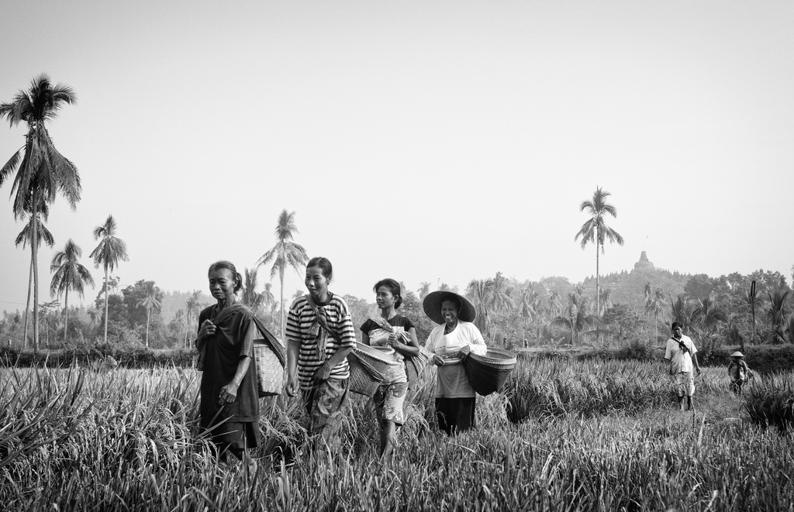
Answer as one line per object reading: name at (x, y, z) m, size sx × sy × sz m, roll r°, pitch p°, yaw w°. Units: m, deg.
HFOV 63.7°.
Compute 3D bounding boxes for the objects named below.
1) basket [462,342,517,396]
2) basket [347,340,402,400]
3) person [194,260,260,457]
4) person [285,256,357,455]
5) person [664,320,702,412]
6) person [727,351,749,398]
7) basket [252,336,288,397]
basket at (1.299, 1.603, 9.100) m, size 0.651 × 0.582 × 0.725 m, roll 1°, pitch -7°, yaw 3°
basket at (-0.319, 1.456, 8.178) m, size 0.595 × 0.485 × 0.632 m, roll 21°, pitch -8°, yaw 7°
person at (-1.851, 1.122, 6.917) m, size 0.695 × 2.089 × 0.604 m, roll 0°, pitch -11°, yaw 5°
person at (-0.897, 1.115, 7.370) m, size 0.784 × 2.080 × 0.622 m, roll 2°, pitch -11°, yaw -9°
person at (6.275, 2.427, 14.155) m, size 0.625 × 1.908 × 1.116 m, roll -4°, pitch -12°, yaw 23°
person at (8.112, 2.775, 15.215) m, size 0.399 × 0.998 × 1.347 m, roll -5°, pitch -13°, yaw 26°
basket at (-1.349, 1.283, 7.352) m, size 0.473 × 0.780 × 0.607 m, roll -1°, pitch -10°, yaw -2°
